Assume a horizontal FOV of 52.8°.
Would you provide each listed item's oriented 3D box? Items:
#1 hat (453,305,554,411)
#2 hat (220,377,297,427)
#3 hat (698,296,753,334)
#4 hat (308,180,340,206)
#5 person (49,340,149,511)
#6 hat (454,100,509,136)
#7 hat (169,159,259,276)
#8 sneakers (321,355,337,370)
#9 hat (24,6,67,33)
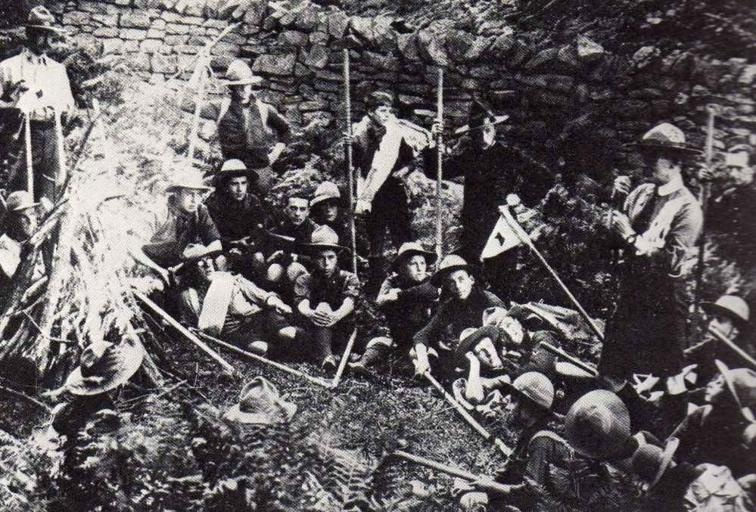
[{"bbox_3d":[1.393,1.101,8.375,1.108,1.099,0.347,3,5,4],"label":"hat"},{"bbox_3d":[-1.233,1.596,8.164,0.597,0.471,0.261,3,-30,-2],"label":"hat"},{"bbox_3d":[3.912,0.612,8.600,0.488,0.186,0.344,34,-27,-7],"label":"hat"},{"bbox_3d":[-0.583,-0.690,8.368,0.223,0.133,0.320,4,-36,-14],"label":"hat"},{"bbox_3d":[-3.022,1.795,8.153,0.884,1.825,0.343,3,6,4],"label":"person"},{"bbox_3d":[1.142,-1.521,8.470,0.441,0.421,0.161,10,-11,12],"label":"hat"},{"bbox_3d":[-1.553,-0.418,8.313,0.634,1.241,0.194,2,6,-9],"label":"hat"},{"bbox_3d":[-0.539,1.160,8.299,0.156,0.151,0.147,29,-58,-30],"label":"sneakers"},{"bbox_3d":[-3.635,-2.585,8.370,0.348,0.128,0.314,12,11,-11],"label":"hat"}]
